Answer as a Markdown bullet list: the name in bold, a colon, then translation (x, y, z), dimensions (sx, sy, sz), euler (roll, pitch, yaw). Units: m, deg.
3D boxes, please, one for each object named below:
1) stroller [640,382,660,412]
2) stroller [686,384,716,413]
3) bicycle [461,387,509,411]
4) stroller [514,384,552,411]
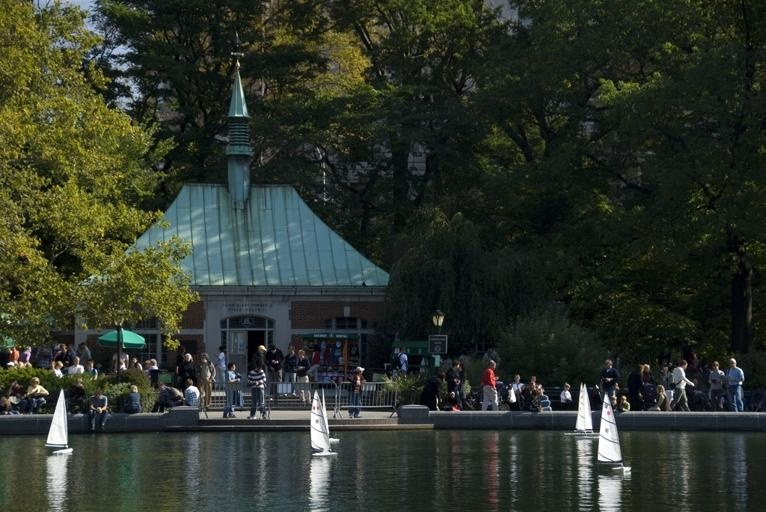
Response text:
- **stroller**: translation (11.159, 6.020, 91.949), dimensions (0.852, 1.135, 0.943), euler (2, -6, -5)
- **stroller**: translation (13.450, 6.196, 93.023), dimensions (0.863, 1.732, 0.602), euler (4, -30, -17)
- **bicycle**: translation (4.312, 6.174, 92.946), dimensions (1.896, 1.147, 0.925), euler (-2, -2, 13)
- **stroller**: translation (6.268, 6.048, 91.932), dimensions (1.057, 0.624, 1.313), euler (4, -2, -16)
